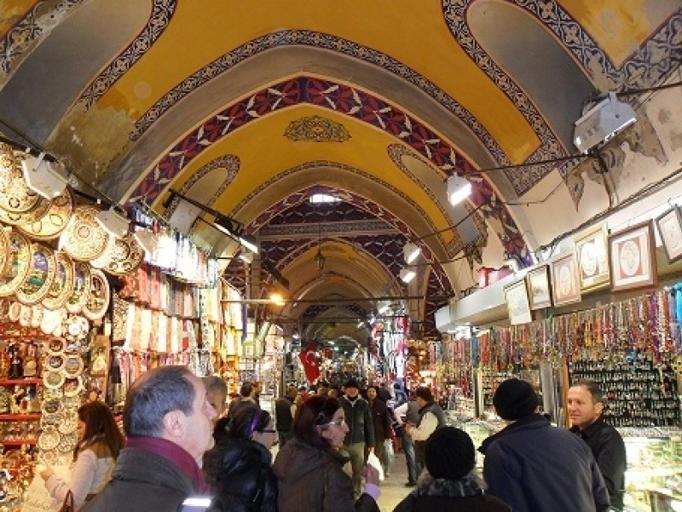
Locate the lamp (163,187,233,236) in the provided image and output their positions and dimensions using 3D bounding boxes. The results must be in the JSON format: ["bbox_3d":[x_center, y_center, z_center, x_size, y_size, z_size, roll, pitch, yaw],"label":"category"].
[{"bbox_3d":[-2.383,-0.669,8.934,0.848,0.245,0.878,30,-11,24],"label":"lamp"}]

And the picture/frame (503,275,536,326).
[{"bbox_3d":[2.242,0.614,6.718,0.040,0.536,0.515,-5,-13,-14],"label":"picture/frame"}]

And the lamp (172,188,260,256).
[{"bbox_3d":[-2.298,-0.668,9.581,0.386,0.594,1.389,-27,-53,27],"label":"lamp"}]

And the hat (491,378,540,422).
[{"bbox_3d":[0.987,0.791,3.018,0.245,0.204,0.249,10,11,21],"label":"hat"}]

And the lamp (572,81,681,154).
[{"bbox_3d":[2.555,-1.249,4.852,0.715,0.487,0.404,-14,-7,-28],"label":"lamp"}]

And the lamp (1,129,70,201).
[{"bbox_3d":[-2.447,-0.671,4.340,0.272,0.326,0.365,-5,-23,13],"label":"lamp"}]

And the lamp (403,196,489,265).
[{"bbox_3d":[1.778,-0.338,10.075,0.405,0.454,3.198,-5,-10,-25],"label":"lamp"}]

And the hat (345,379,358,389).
[{"bbox_3d":[0.154,1.901,7.801,0.126,0.152,0.163,3,-2,3],"label":"hat"}]
